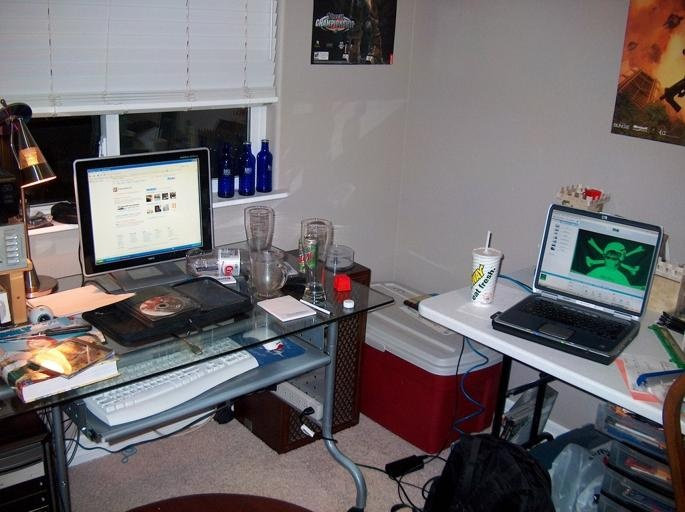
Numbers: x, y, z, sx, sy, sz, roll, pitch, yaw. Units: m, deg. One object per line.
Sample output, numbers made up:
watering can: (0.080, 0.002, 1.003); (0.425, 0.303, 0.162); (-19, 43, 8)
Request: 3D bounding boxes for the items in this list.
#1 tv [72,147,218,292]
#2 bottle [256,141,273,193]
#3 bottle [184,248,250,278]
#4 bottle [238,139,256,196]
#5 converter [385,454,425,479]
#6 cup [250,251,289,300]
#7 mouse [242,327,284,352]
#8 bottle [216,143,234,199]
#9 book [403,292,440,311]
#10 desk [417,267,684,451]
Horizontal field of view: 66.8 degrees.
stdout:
tv: (-0.803, -0.136, 2.122); (0.487, 0.490, 0.163); (-15, 31, -35)
bottle: (-0.423, -0.484, 2.815); (0.096, 0.275, 0.059); (-11, 20, -32)
bottle: (-0.561, 0.025, 2.264); (0.183, 0.074, 0.146); (-1, 15, -4)
bottle: (-0.512, -0.457, 2.750); (0.092, 0.274, 0.071); (-4, 17, -12)
converter: (0.310, 1.043, 2.595); (0.175, 0.031, 0.084); (-9, 18, -29)
cup: (-0.297, 0.050, 2.187); (0.127, 0.196, 0.195); (-20, 37, -37)
mouse: (-0.314, 0.324, 1.958); (0.090, 0.030, 0.122); (-16, 33, -42)
bottle: (-0.619, -0.451, 2.723); (0.093, 0.279, 0.141); (-4, 18, -12)
book: (0.361, 0.213, 2.407); (0.130, 0.037, 0.131); (-14, 21, -38)
desk: (0.800, 0.492, 2.014); (0.918, 0.586, 0.544); (15, 23, 40)
